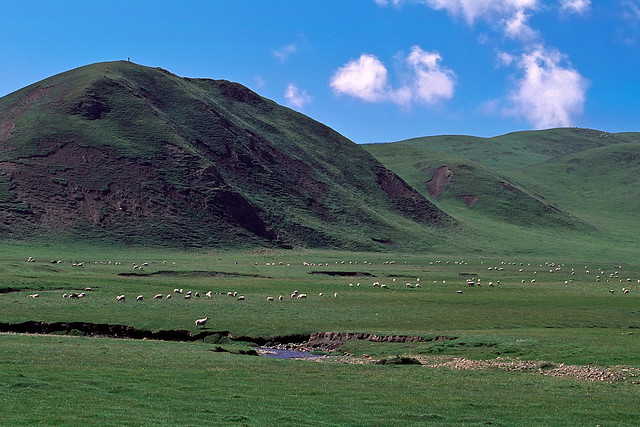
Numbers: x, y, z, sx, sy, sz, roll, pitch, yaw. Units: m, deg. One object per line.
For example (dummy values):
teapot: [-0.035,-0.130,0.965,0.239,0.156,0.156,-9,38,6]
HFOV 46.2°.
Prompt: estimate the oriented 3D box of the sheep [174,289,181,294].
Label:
sheep: [-18.761,10.273,98.529,0.823,0.446,1.078,4,3,-12]
